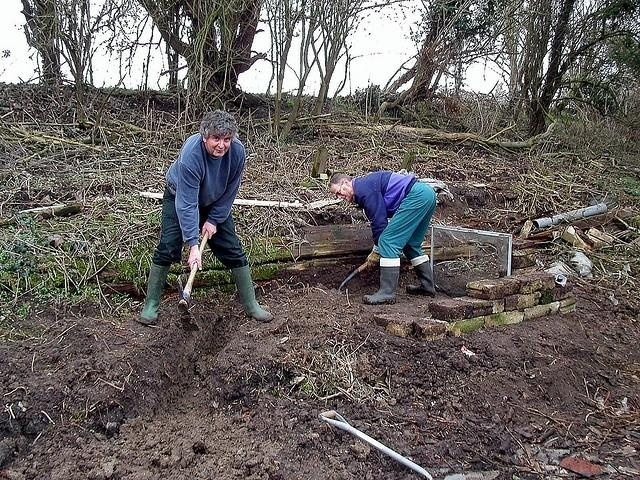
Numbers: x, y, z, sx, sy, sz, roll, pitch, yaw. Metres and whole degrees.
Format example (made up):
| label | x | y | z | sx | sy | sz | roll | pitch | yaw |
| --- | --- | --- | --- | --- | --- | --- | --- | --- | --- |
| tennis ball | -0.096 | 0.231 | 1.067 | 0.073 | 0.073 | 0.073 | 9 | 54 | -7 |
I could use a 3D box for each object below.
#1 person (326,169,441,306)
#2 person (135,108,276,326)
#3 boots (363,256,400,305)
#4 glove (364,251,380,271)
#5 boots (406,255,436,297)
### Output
| label | x | y | z | sx | sy | sz | roll | pitch | yaw |
| --- | --- | --- | --- | --- | --- | --- | --- | --- | --- |
| person | 0.916 | -0.042 | 5.674 | 1.270 | 1.582 | 0.861 | -3 | 16 | -20 |
| person | -1.214 | -0.197 | 4.625 | 1.284 | 2.230 | 0.670 | 0 | 15 | -9 |
| boots | 0.820 | 0.520 | 5.411 | 0.568 | 0.686 | 0.366 | 3 | -2 | -3 |
| glove | 0.691 | 0.283 | 5.815 | 0.143 | 0.202 | 0.064 | 15 | -20 | 48 |
| boots | 1.318 | 0.465 | 5.977 | 0.440 | 0.573 | 0.284 | 0 | 18 | 32 |
